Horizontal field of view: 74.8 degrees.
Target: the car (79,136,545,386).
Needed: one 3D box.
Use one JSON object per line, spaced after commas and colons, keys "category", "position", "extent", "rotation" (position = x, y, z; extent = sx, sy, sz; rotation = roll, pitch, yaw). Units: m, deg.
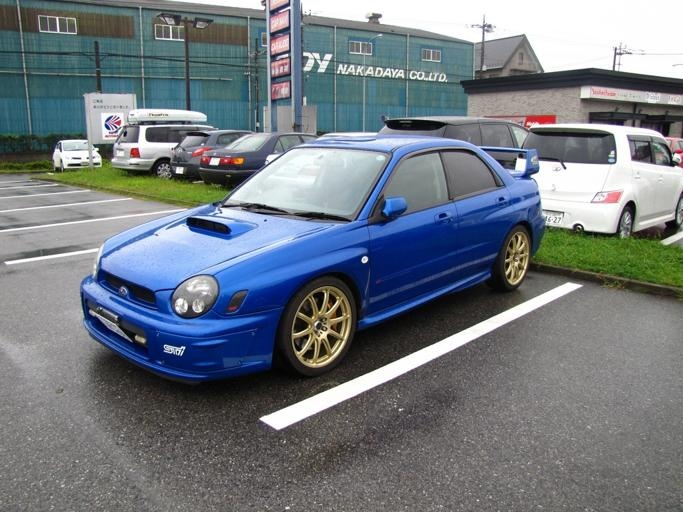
{"category": "car", "position": [0.215, -0.189, 4.759], "extent": [4.793, 1.531, 2.178], "rotation": [-12, 19, -35]}
